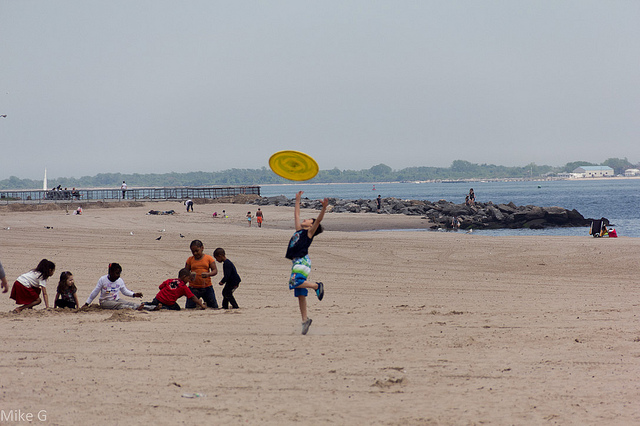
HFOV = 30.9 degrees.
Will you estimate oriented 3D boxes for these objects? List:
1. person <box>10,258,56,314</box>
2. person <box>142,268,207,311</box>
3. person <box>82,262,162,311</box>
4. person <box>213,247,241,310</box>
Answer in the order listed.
[{"bbox_3d":[-6.602,1.671,26.470,0.941,1.228,0.779,1,0,-15],"label":"person"},{"bbox_3d":[-3.360,1.862,26.703,1.145,0.665,1.077,-9,23,-43],"label":"person"},{"bbox_3d":[-4.582,1.750,26.717,1.860,1.058,0.971,4,2,30],"label":"person"},{"bbox_3d":[-2.197,1.541,27.240,0.598,1.446,1.349,1,0,-4],"label":"person"}]
